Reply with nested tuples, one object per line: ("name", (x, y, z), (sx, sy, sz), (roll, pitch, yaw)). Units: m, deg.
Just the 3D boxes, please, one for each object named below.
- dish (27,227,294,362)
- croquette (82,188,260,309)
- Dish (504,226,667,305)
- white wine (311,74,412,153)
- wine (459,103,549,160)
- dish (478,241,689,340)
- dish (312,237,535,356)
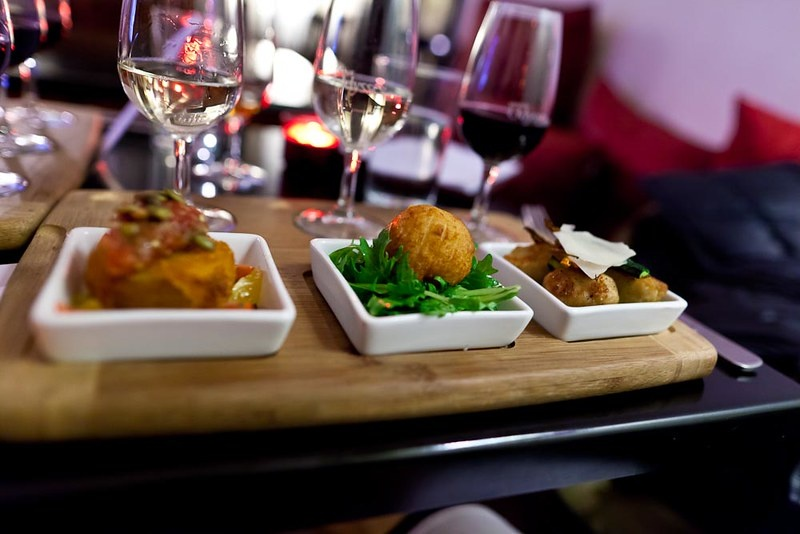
("dish", (-0.253, 0.049, 0.617), (0.199, 0.047, 0.180), (1, 28, -14))
("croquette", (-0.265, -0.042, 0.655), (0.187, 0.114, 0.187), (-4, 29, -16))
("Dish", (0.273, -0.040, 0.821), (0.141, 0.048, 0.158), (-5, 26, -23))
("white wine", (-0.064, -0.247, 0.896), (0.127, 0.090, 0.121), (9, 19, 3))
("wine", (0.190, -0.247, 1.037), (0.116, 0.071, 0.115), (20, 21, 18))
("dish", (0.257, 0.010, 0.785), (0.161, 0.047, 0.201), (0, 18, -16))
("dish", (0.027, 0.048, 0.699), (0.188, 0.046, 0.159), (1, 17, -15))
